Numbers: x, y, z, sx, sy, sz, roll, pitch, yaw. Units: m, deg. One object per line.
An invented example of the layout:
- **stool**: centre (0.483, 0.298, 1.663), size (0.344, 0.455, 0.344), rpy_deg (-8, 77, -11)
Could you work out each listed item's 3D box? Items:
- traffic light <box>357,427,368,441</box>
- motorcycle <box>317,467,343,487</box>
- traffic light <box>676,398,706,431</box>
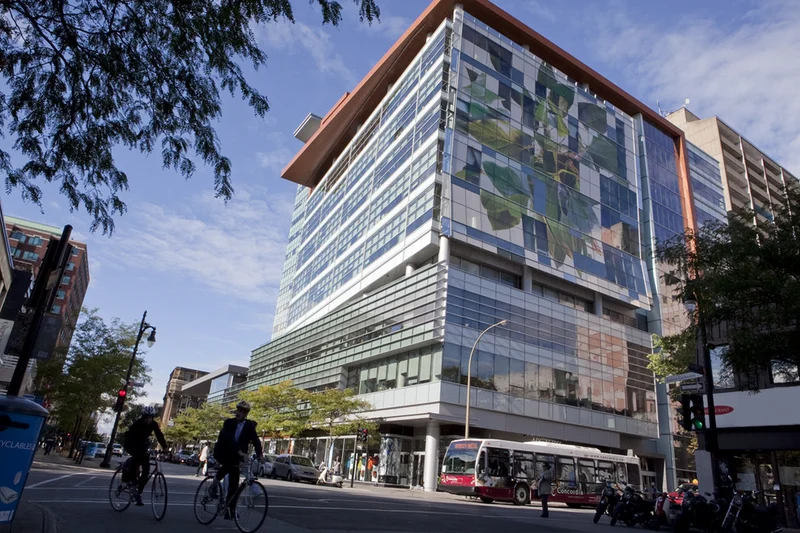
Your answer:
- **traffic light**: centre (-2.482, 11.362, 37.149), size (0.479, 0.785, 0.714), rpy_deg (0, -25, 10)
- **motorcycle**: centre (-4.539, 14.183, 37.266), size (1.574, 1.070, 1.992), rpy_deg (4, -30, -2)
- **traffic light**: centre (10.017, 5.000, 18.844), size (0.752, 1.131, 0.925), rpy_deg (-7, -27, 25)
